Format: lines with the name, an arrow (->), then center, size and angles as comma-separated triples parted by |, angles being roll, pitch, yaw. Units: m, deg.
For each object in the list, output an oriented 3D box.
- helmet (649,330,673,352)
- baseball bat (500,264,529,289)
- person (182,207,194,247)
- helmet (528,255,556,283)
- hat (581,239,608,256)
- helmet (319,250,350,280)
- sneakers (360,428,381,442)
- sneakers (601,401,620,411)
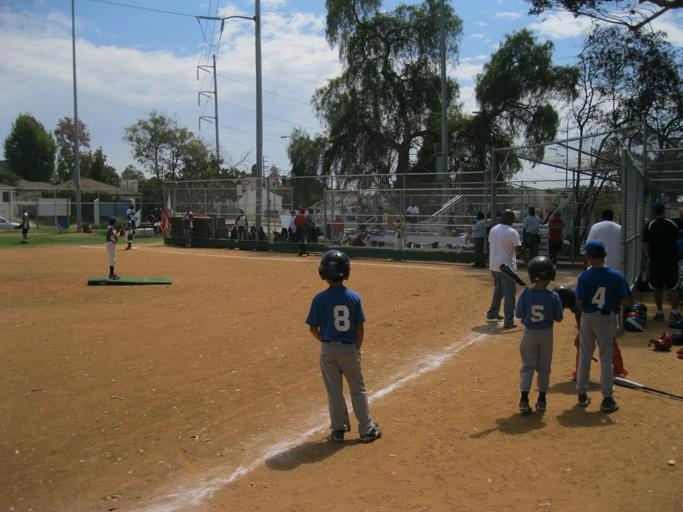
helmet -> 5.801, 1.575, 13.951 | 0.392, 0.414, 0.281 | -4, -6, 22
baseball bat -> 3.735, 0.465, 16.678 | 0.891, 0.115, 0.188 | 42, 19, -27
person -> -7.415, -1.367, 37.124 | 0.449, 1.863, 0.897 | 0, 5, -13
helmet -> 2.983, 0.192, 11.485 | 0.393, 0.394, 0.308 | -7, 12, -37
hat -> 3.777, -0.114, 11.498 | 0.269, 0.233, 0.325 | 1, 4, 8
helmet -> -0.128, 0.124, 10.785 | 0.313, 0.381, 0.439 | 2, 8, -10
sneakers -> 0.410, 2.493, 10.700 | 0.328, 0.159, 0.129 | -4, 4, -34
sneakers -> 3.956, 2.206, 11.302 | 0.280, 0.199, 0.084 | 0, 5, -9
